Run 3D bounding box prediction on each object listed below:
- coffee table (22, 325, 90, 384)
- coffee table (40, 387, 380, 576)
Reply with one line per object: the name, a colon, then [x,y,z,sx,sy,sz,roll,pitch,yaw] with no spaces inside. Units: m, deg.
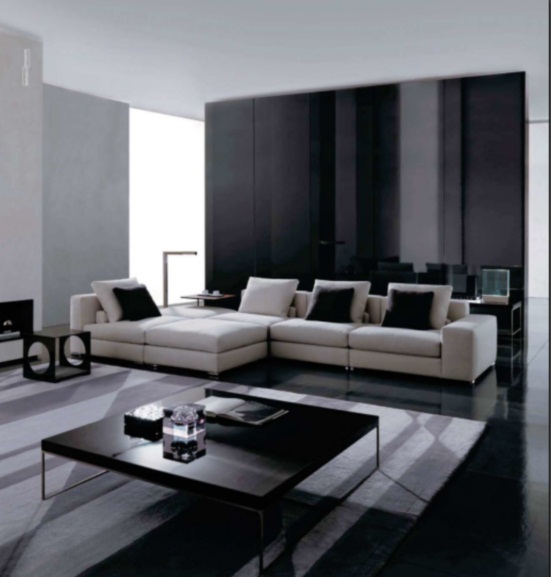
coffee table: [-1.950,0.603,4.678,0.516,0.439,0.522,0,2,23]
coffee table: [-0.289,0.769,2.495,1.231,0.329,1.182,3,5,30]
